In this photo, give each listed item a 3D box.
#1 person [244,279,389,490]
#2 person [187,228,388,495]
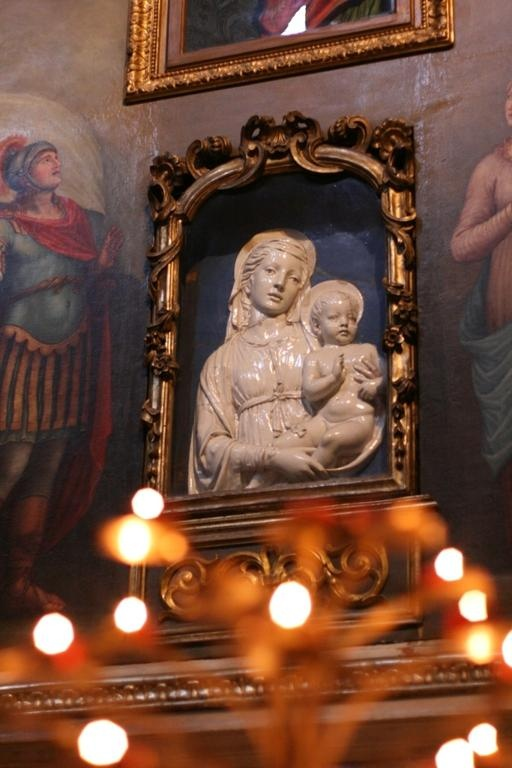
[{"bbox_3d":[0.278,-0.024,6.871,0.334,0.776,0.284,-18,-29,39],"label":"person"},{"bbox_3d":[0.097,-0.043,7.003,0.752,1.141,0.216,-5,-25,12],"label":"person"}]
